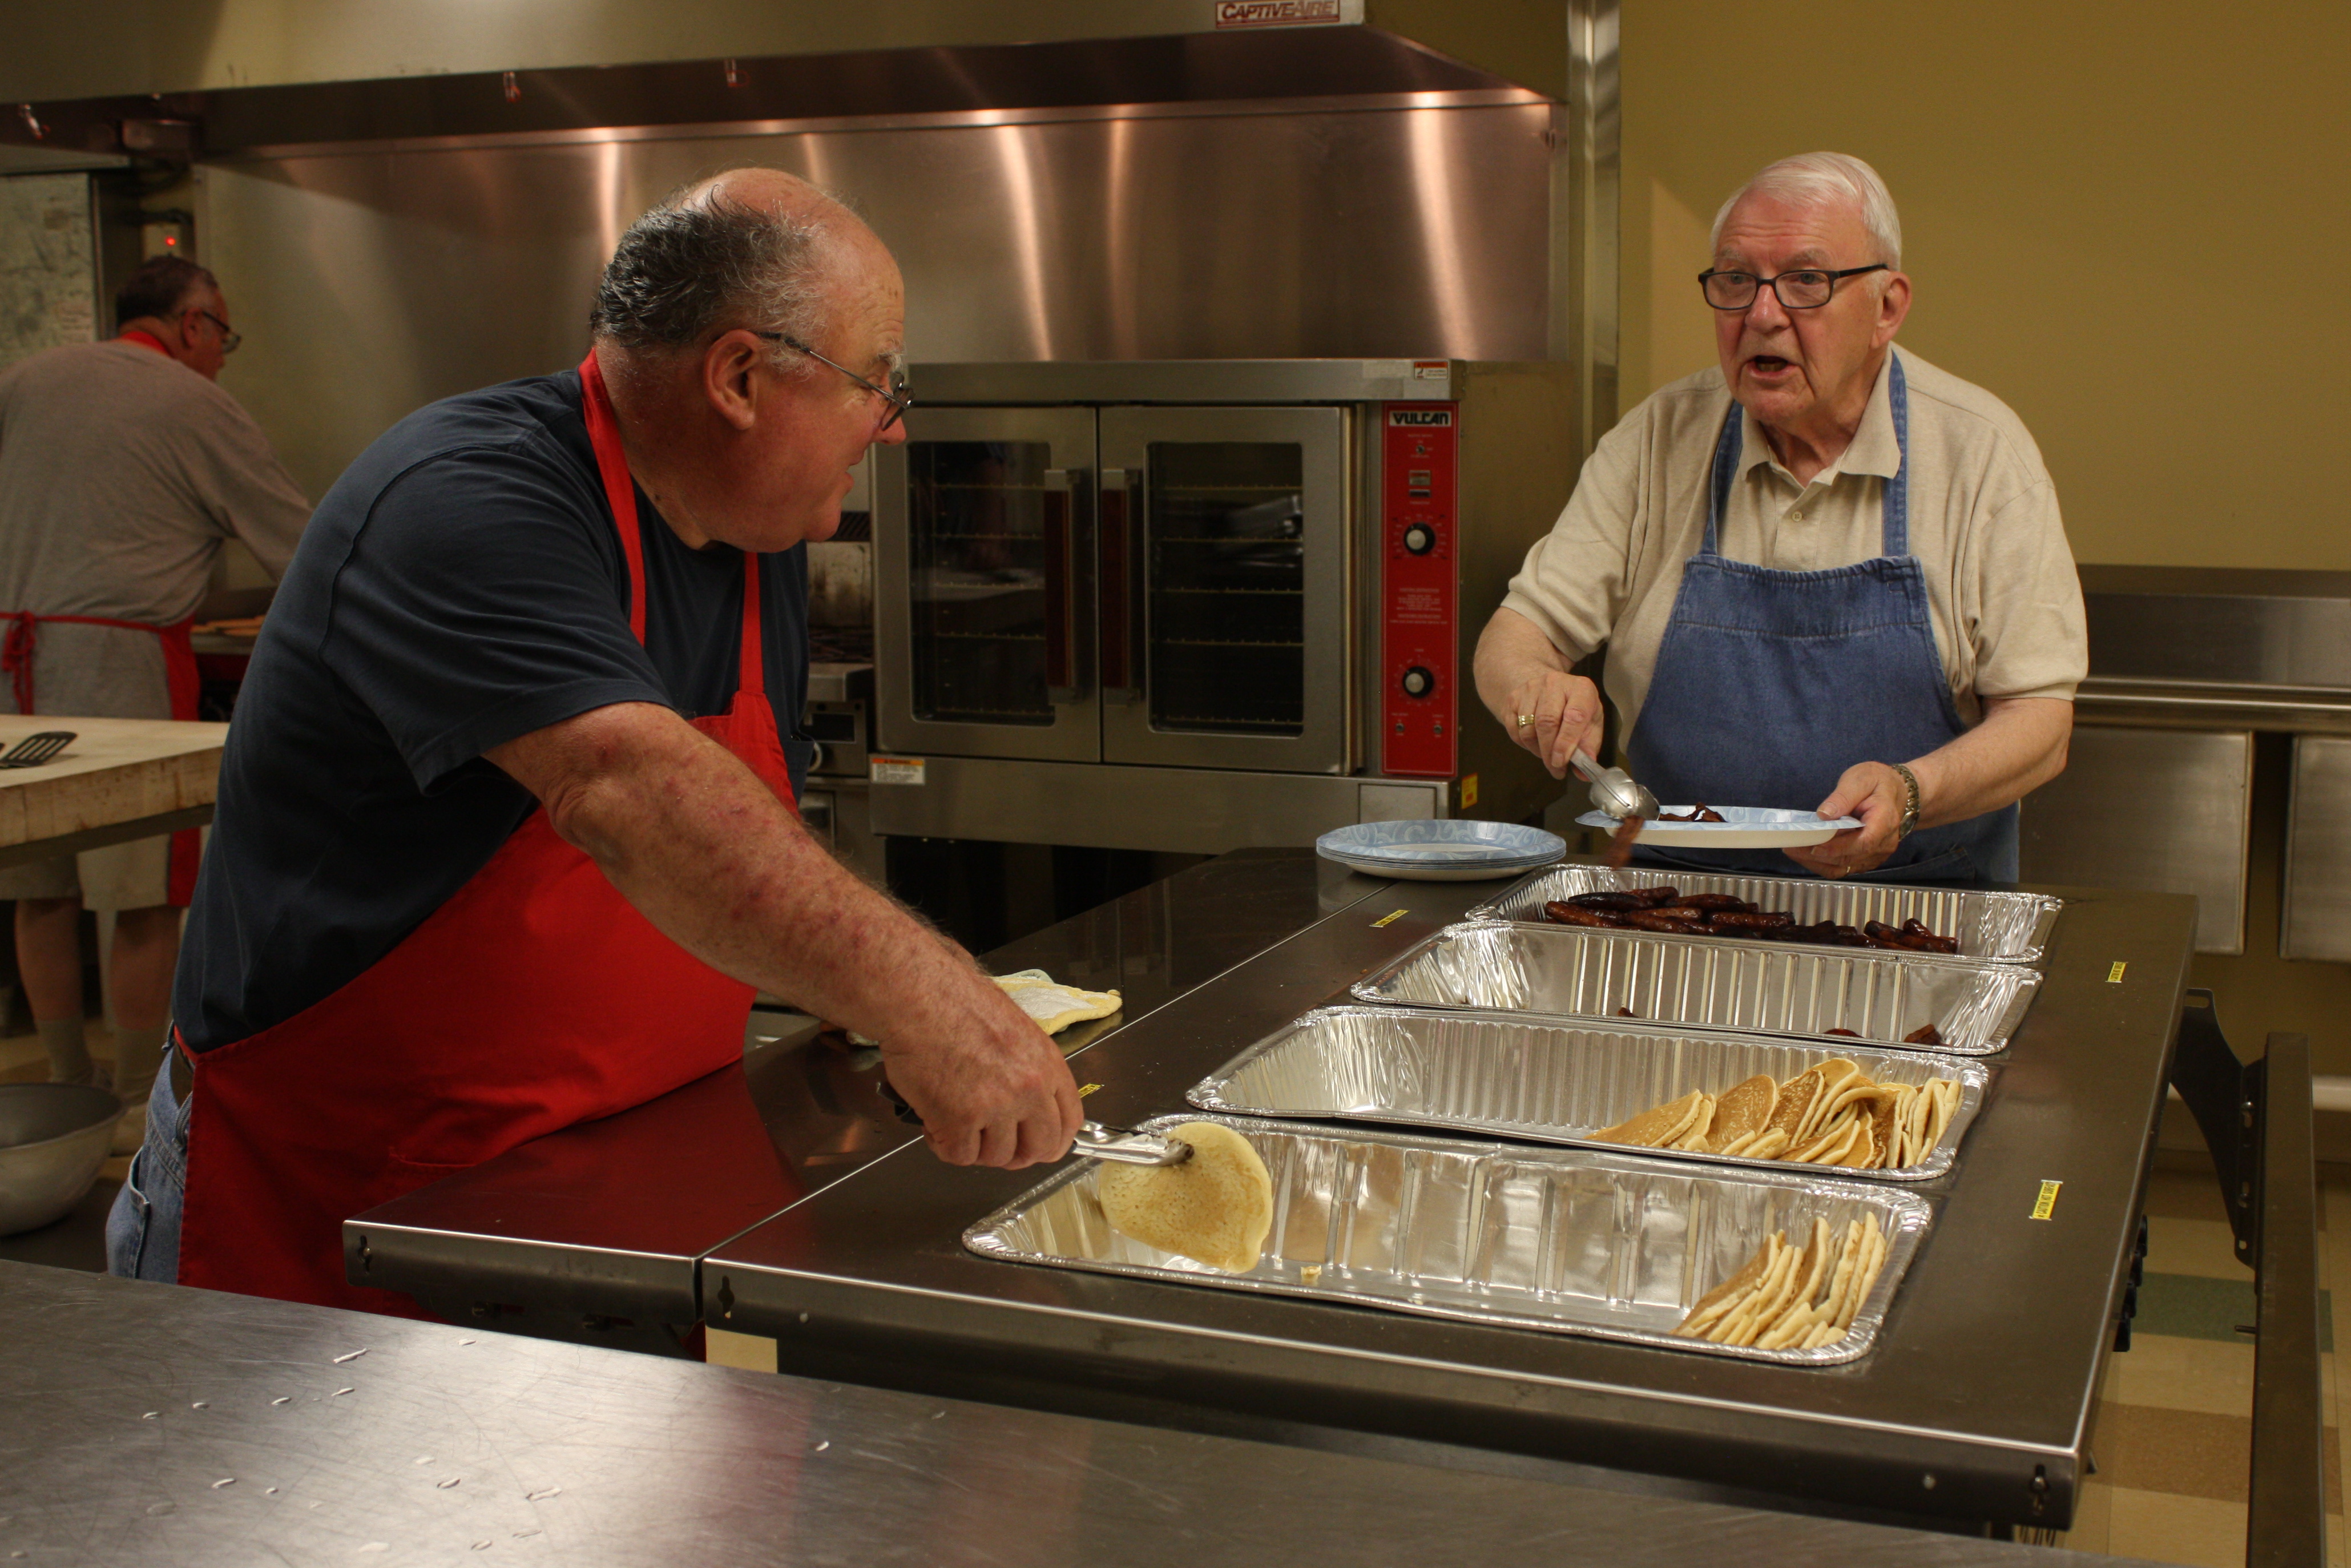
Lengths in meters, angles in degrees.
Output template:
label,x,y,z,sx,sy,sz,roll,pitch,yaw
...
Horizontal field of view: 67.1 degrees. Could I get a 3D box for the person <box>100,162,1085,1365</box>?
label,x,y,z,sx,sy,sz,roll,pitch,yaw
person,-0.564,-0.002,1.795,1.135,1.185,0.493,7,15,27

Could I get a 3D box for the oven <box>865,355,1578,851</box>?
label,x,y,z,sx,sy,sz,roll,pitch,yaw
oven,0.069,-0.428,4.531,1.497,1.171,0.924,2,3,13

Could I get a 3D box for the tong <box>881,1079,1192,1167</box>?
label,x,y,z,sx,sy,sz,roll,pitch,yaw
tong,-0.129,0.310,1.608,0.198,0.059,0.051,14,35,-4

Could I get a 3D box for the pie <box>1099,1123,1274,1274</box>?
label,x,y,z,sx,sy,sz,roll,pitch,yaw
pie,0.019,0.388,1.692,0.147,0.126,0.058,11,-3,29

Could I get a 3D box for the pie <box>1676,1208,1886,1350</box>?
label,x,y,z,sx,sy,sz,roll,pitch,yaw
pie,0.539,0.432,1.547,0.142,0.060,0.236,9,16,32

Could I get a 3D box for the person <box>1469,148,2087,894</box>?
label,x,y,z,sx,sy,sz,roll,pitch,yaw
person,0.921,-0.341,2.701,0.611,1.548,0.637,1,4,17

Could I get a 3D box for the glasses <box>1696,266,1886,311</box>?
label,x,y,z,sx,sy,sz,roll,pitch,yaw
glasses,0.894,-0.723,2.573,0.255,0.063,0.159,5,15,20

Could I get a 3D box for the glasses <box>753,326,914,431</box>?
label,x,y,z,sx,sy,sz,roll,pitch,yaw
glasses,-0.312,-0.391,1.682,0.084,0.026,0.084,31,-3,-3

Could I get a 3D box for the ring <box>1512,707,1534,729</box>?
label,x,y,z,sx,sy,sz,roll,pitch,yaw
ring,0.495,-0.097,2.533,0.027,0.028,0.020,-1,-5,24
